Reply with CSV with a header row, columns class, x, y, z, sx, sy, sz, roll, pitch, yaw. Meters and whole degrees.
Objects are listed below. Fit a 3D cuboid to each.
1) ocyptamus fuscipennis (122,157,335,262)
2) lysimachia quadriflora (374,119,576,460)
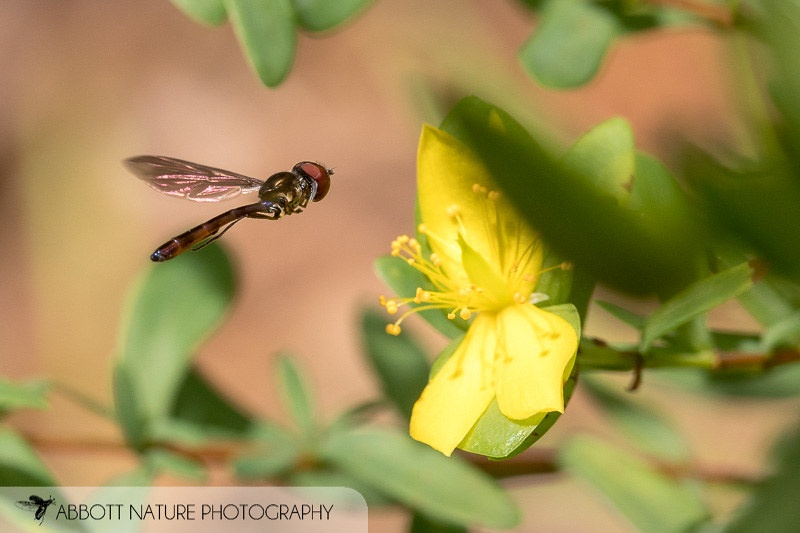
class,x,y,z,sx,sy,sz,roll,pitch,yaw
ocyptamus fuscipennis,-0.177,-0.081,0.792,0.196,0.073,0.128,-16,59,-18
lysimachia quadriflora,0.066,0.010,0.676,0.151,0.208,0.278,1,92,1
